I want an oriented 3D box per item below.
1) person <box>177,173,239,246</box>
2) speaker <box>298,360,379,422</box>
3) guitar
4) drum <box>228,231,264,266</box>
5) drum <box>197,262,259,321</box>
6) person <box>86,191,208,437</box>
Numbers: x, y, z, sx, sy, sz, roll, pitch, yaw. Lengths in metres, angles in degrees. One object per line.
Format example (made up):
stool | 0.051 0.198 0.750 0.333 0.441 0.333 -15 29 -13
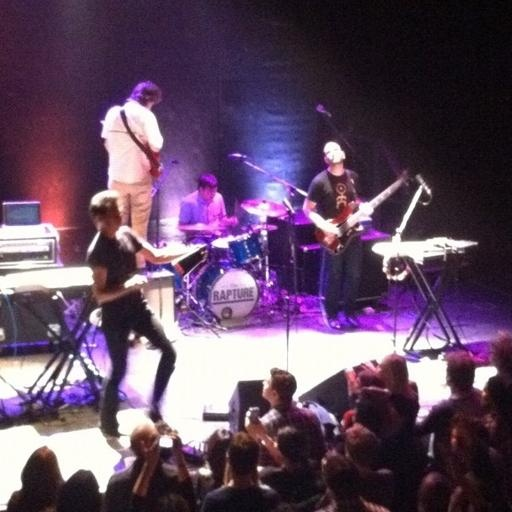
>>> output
person | -0.612 -0.438 6.933 0.627 1.077 0.594 -3 22 -17
speaker | 0.511 0.892 3.814 0.509 0.386 0.403 -6 -15 30
guitar | 1.127 -0.481 6.065 0.481 0.178 1.681 15 22 -6
drum | -0.110 -0.082 6.073 0.215 0.358 0.416 -7 -16 35
drum | -0.235 0.449 6.214 0.573 0.623 0.541 9 -13 -29
person | -0.810 0.434 3.828 0.575 1.534 0.992 3 -13 -6
